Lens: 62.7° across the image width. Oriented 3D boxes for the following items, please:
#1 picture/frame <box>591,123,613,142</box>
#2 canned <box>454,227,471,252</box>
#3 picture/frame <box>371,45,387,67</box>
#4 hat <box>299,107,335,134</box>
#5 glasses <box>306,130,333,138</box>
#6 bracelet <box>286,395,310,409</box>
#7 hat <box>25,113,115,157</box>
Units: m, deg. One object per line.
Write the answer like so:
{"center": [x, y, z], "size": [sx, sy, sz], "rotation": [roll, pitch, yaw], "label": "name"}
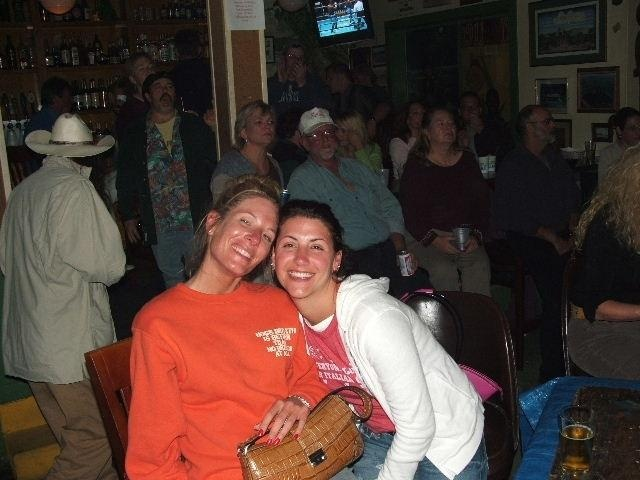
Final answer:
{"center": [3.650, -1.378, 6.768], "size": [0.028, 0.227, 0.251], "rotation": [-11, 15, -32], "label": "picture/frame"}
{"center": [1.110, -0.014, 4.151], "size": [0.147, 0.236, 0.192], "rotation": [2, 5, 13], "label": "canned"}
{"center": [0.995, -3.038, 8.753], "size": [0.082, 0.305, 0.308], "rotation": [-9, 11, -44], "label": "picture/frame"}
{"center": [-0.048, -0.933, 4.216], "size": [0.188, 0.138, 0.260], "rotation": [-13, 10, -6], "label": "hat"}
{"center": [0.016, -0.823, 4.103], "size": [0.200, 0.054, 0.055], "rotation": [-5, 12, -7], "label": "glasses"}
{"center": [-0.070, 0.605, 1.948], "size": [0.061, 0.015, 0.049], "rotation": [34, -10, -36], "label": "bracelet"}
{"center": [-1.461, -0.574, 3.071], "size": [0.341, 0.147, 0.365], "rotation": [1, 8, -28], "label": "hat"}
